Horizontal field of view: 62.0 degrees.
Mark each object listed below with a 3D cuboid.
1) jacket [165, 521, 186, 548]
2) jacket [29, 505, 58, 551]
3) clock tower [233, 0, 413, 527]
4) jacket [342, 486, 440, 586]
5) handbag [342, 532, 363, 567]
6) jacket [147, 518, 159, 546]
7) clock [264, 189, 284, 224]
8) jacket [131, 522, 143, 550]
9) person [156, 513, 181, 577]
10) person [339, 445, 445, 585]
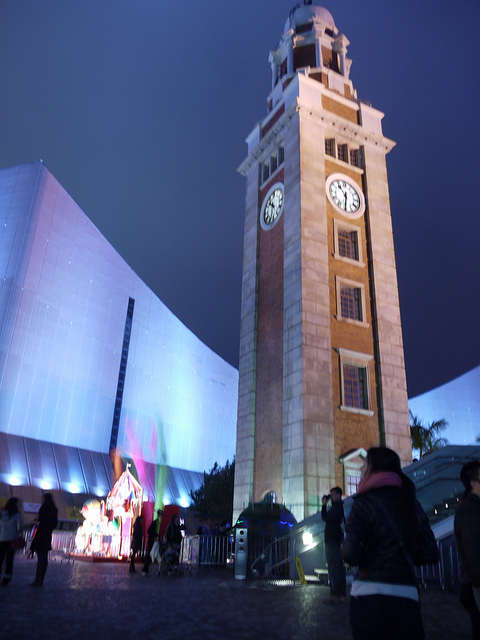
[{"bbox_3d":[-2.042,6.602,12.313,0.433,0.673,0.866,3,-26,-4],"label":"jacket"},{"bbox_3d":[-4.178,4.390,8.487,0.432,0.888,0.676,12,-25,-25],"label":"jacket"},{"bbox_3d":[4.707,-7.630,25.244,8.846,37.165,5.282,3,-18,-6],"label":"clock tower"},{"bbox_3d":[0.752,0.989,1.993,0.375,0.627,0.291,-2,12,10],"label":"jacket"},{"bbox_3d":[0.536,1.076,1.885,0.156,0.131,0.098,23,-31,-37],"label":"handbag"},{"bbox_3d":[-2.871,6.902,13.075,0.303,0.828,1.488,5,-27,-11],"label":"jacket"},{"bbox_3d":[2.184,-6.996,24.986,0.120,2.841,2.088,7,-2,-16],"label":"clock"},{"bbox_3d":[-3.407,7.030,13.045,0.326,0.788,0.381,4,-21,-7],"label":"jacket"},{"bbox_3d":[-2.189,6.979,12.436,0.612,1.635,1.452,7,-24,-16],"label":"person"},{"bbox_3d":[0.732,0.948,2.019,0.591,0.649,0.313,16,-25,-29],"label":"person"}]
